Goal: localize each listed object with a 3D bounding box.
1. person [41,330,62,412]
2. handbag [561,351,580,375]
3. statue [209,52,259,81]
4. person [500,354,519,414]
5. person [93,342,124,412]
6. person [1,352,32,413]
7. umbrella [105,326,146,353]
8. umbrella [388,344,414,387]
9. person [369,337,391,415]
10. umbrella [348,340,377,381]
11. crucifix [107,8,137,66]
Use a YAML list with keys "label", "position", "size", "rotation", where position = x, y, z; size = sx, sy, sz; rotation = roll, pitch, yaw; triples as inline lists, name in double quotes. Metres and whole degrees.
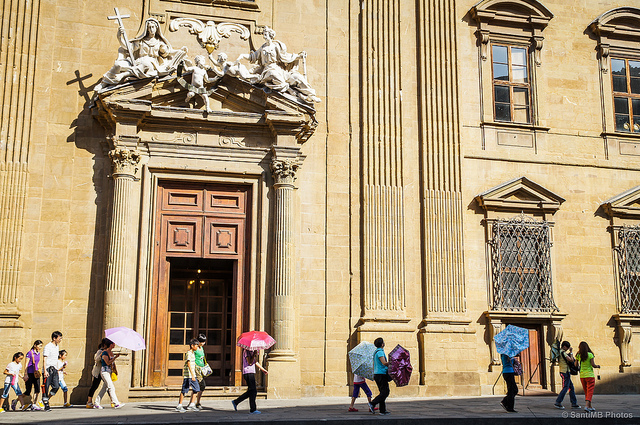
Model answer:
- label: "person"
  position: [-7.643, 4.482, 26.848]
  size: [0.447, 2.189, 0.576]
  rotation: [2, -10, -15]
- label: "handbag"
  position: [7.091, 4.262, 26.826]
  size: [0.488, 0.598, 0.168]
  rotation: [1, -10, -11]
- label: "statue"
  position: [-2.814, -4.543, 29.929]
  size: [1.750, 0.650, 0.707]
  rotation: [14, 29, 0]
- label: "person"
  position: [5.214, 4.738, 26.257]
  size: [0.466, 1.602, 0.647]
  rotation: [-3, -10, 9]
- label: "person"
  position: [-6.084, 4.630, 26.805]
  size: [0.755, 1.881, 1.536]
  rotation: [0, -9, -3]
- label: "person"
  position: [-8.609, 4.782, 26.812]
  size: [0.815, 1.626, 1.339]
  rotation: [2, -10, -17]
- label: "umbrella"
  position: [-5.348, 3.450, 26.043]
  size: [0.786, 0.484, 0.768]
  rotation: [25, 4, -8]
- label: "umbrella"
  position: [2.128, 4.133, 25.612]
  size: [0.622, 1.100, 0.817]
  rotation: [-2, -9, 4]
- label: "person"
  position: [1.573, 4.443, 25.766]
  size: [0.538, 2.046, 1.009]
  rotation: [-1, -10, 2]
- label: "umbrella"
  position: [1.126, 4.016, 25.823]
  size: [1.005, 0.838, 0.454]
  rotation: [2, -1, -5]
- label: "crucifix"
  position: [-6.228, -5.429, 29.744]
  size: [0.833, 1.997, 0.049]
  rotation: [-19, -8, -25]
